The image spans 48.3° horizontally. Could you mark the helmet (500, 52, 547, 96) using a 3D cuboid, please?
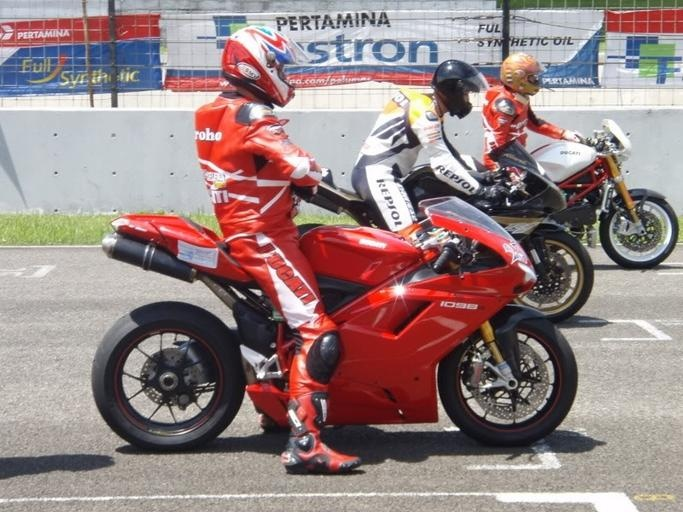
[{"bbox_3d":[1.968,-2.072,8.782,0.637,0.402,0.455,-2,16,-18],"label":"helmet"}]

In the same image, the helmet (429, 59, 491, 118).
[{"bbox_3d":[1.089,-1.554,7.019,0.569,0.391,0.408,16,24,18],"label":"helmet"}]

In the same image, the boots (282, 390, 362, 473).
[{"bbox_3d":[-0.057,1.108,4.767,0.653,0.477,0.290,-11,-17,42],"label":"boots"}]

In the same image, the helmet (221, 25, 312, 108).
[{"bbox_3d":[-0.627,-1.277,5.123,0.638,0.381,0.529,18,-13,-43],"label":"helmet"}]

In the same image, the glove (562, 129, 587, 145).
[{"bbox_3d":[2.917,-1.450,9.207,0.381,0.108,0.230,13,3,-16],"label":"glove"}]

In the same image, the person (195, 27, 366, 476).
[{"bbox_3d":[-0.434,-0.071,4.925,0.726,2.832,1.292,-6,17,-21],"label":"person"}]
